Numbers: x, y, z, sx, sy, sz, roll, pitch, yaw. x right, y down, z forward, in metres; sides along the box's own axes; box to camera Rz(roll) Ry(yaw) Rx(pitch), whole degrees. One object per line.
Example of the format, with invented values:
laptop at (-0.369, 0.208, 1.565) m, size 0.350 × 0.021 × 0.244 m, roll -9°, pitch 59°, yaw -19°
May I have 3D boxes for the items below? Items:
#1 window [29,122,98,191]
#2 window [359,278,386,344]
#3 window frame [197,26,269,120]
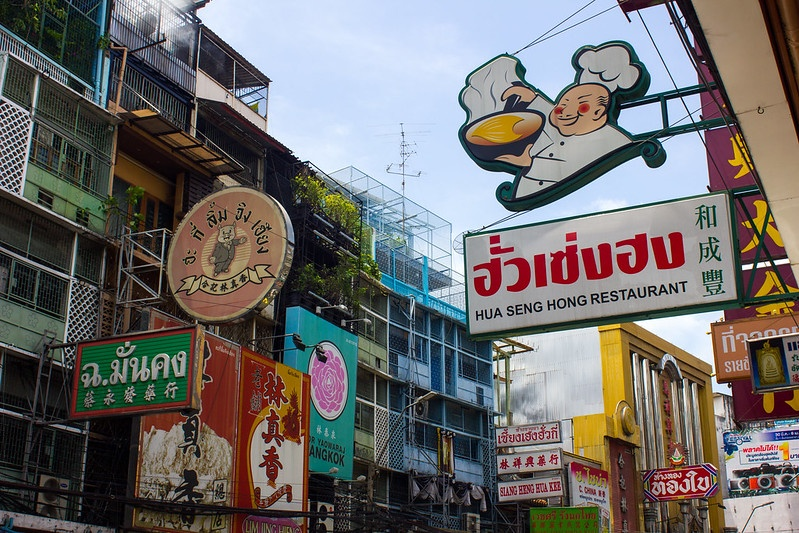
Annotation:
window at (-10.629, -3.438, 33.944) m, size 0.193 × 1.312 × 2.513 m, roll 14°, pitch -9°, yaw 26°
window at (-1.161, 2.005, 46.499) m, size 0.286 × 2.982 × 1.986 m, roll -13°, pitch -23°, yaw 30°
window frame at (-6.773, -7.632, 43.714) m, size 1.686 × 1.282 × 4.604 m, roll -21°, pitch -19°, yaw 10°
